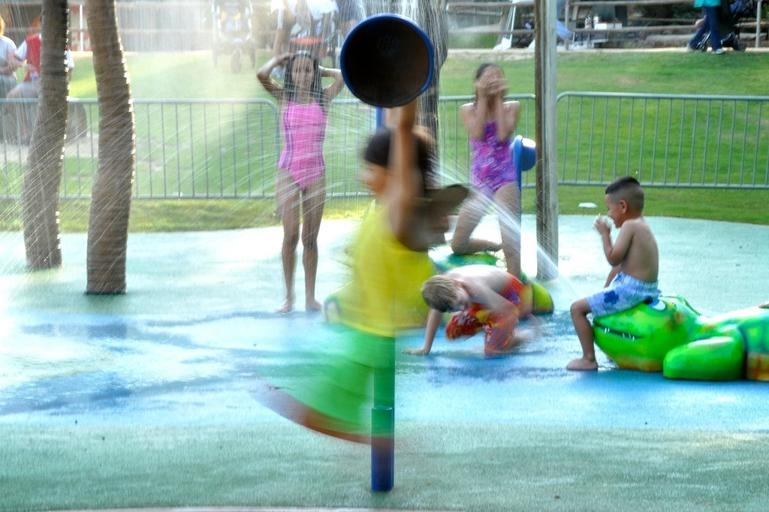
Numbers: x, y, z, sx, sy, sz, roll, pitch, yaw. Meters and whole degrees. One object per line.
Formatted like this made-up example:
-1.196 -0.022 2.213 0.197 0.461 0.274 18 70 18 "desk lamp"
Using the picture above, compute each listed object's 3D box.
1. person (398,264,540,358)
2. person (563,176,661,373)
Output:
0.800 0.453 10.595 1.141 0.838 0.828 -27 22 -38 "person"
2.053 0.135 10.665 0.788 1.611 0.722 0 11 0 "person"
